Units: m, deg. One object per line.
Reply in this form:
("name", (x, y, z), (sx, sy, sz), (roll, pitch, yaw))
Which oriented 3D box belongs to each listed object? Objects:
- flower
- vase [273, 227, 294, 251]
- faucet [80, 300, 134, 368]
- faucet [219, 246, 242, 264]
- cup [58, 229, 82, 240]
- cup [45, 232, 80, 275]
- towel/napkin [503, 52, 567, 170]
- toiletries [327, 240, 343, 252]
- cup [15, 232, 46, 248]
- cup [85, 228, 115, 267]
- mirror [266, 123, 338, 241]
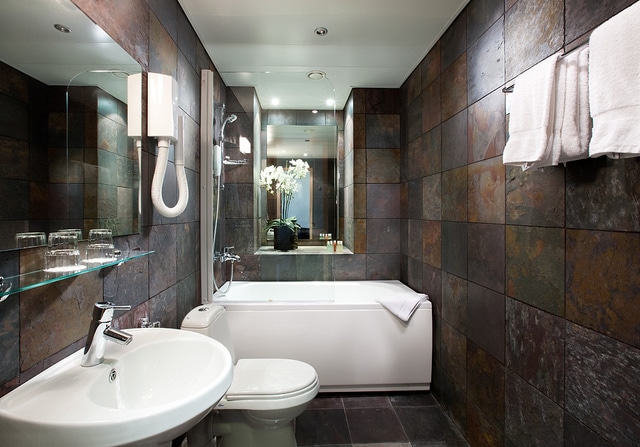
("flower", (-0.292, -0.179, 3.382), (0.306, 0.524, 0.354), (-4, -11, 16))
("vase", (-0.291, 0.123, 3.320), (0.165, 0.201, 0.173), (0, 0, 3))
("faucet", (-0.928, 0.491, 1.792), (0.190, 0.283, 0.097), (11, 8, -2))
("faucet", (-0.710, 0.254, 3.205), (0.149, 0.140, 0.095), (-2, 2, -16))
("cup", (-1.072, 0.048, 1.777), (0.040, 0.041, 0.042), (0, 1, 0))
("cup", (-1.120, 0.122, 1.769), (0.164, 0.182, 0.161), (4, 4, 0))
("towel/napkin", (1.012, -0.550, 1.968), (0.116, 0.464, 0.337), (0, 7, -10))
("toiletries", (0.133, 0.189, 3.422), (0.051, 0.113, 0.221), (1, 4, 34))
("cup", (-1.151, 0.066, 1.624), (0.055, 0.056, 0.058), (1, -1, 0))
("cup", (-1.044, 0.111, 1.926), (0.126, 0.156, 0.155), (6, 3, 39))
("mirror", (-0.140, -0.253, 3.478), (0.668, 1.200, 0.022), (-4, 36, -11))
